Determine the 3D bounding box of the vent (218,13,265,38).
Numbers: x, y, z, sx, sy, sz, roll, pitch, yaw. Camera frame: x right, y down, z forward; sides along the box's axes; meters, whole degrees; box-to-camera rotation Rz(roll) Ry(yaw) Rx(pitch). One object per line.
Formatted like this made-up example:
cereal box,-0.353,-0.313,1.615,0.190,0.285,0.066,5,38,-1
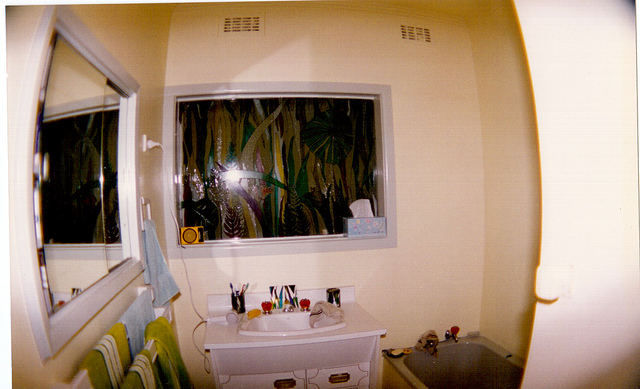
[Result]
vent,-0.442,-0.950,2.494,0.256,0.112,0.012,-3,1,-2

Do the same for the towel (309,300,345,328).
towel,0.039,0.659,2.519,0.159,0.061,0.157,-5,1,-7

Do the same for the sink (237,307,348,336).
sink,-0.185,0.739,2.479,0.611,0.134,0.373,2,6,-3

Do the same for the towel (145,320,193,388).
towel,-0.782,0.829,2.361,0.137,0.435,0.317,-2,1,-8

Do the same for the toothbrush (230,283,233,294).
toothbrush,-0.503,0.521,2.507,0.015,0.061,0.009,-3,2,-1

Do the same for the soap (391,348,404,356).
soap,0.446,0.893,2.537,0.038,0.009,0.037,-5,5,-4

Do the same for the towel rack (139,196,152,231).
towel rack,-0.981,0.103,2.489,0.030,0.185,0.087,-3,1,23

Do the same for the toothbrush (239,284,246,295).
toothbrush,-0.438,0.532,2.516,0.016,0.065,0.016,17,-10,18

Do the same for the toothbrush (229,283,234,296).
toothbrush,-0.501,0.532,2.503,0.013,0.074,0.010,-4,1,-5
